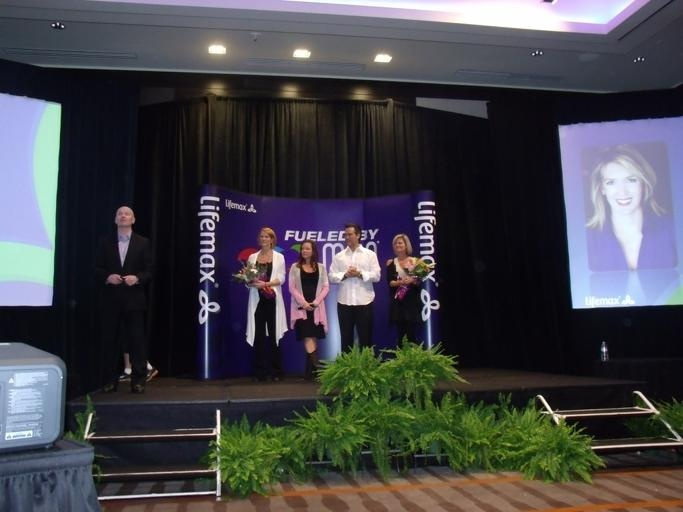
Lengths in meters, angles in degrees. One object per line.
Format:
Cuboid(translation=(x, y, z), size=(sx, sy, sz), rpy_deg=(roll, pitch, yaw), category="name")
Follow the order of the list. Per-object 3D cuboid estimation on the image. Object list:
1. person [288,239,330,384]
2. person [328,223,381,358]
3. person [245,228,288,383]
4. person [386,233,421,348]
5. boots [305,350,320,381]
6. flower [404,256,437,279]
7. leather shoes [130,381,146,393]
Cuboid(translation=(-0.377, 0.613, 6.340), size=(0.447, 1.578, 0.332), rpy_deg=(-1, -5, -4), category="person")
Cuboid(translation=(0.153, 0.352, 6.247), size=(0.581, 1.483, 0.522), rpy_deg=(-1, -5, -2), category="person")
Cuboid(translation=(-0.875, 0.541, 6.229), size=(0.464, 1.720, 0.455), rpy_deg=(-1, -5, -9), category="person")
Cuboid(translation=(0.723, 0.401, 6.343), size=(0.370, 1.306, 0.507), rpy_deg=(-2, -5, 8), category="person")
Cuboid(translation=(-0.332, 1.248, 6.225), size=(0.147, 0.300, 0.279), rpy_deg=(-1, -4, -4), category="boots")
Cuboid(translation=(0.877, 0.150, 6.197), size=(0.284, 0.203, 0.280), rpy_deg=(-1, -4, 21), category="flower")
Cuboid(translation=(-1.949, 1.247, 5.197), size=(0.116, 0.087, 0.094), rpy_deg=(1, -14, -3), category="leather shoes")
